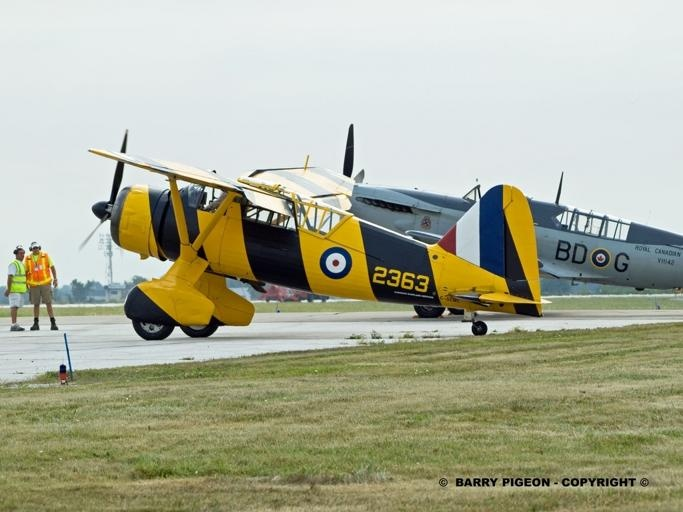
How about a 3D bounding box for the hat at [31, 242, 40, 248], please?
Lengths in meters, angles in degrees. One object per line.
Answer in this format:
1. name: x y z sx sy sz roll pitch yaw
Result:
1. hat: -5.247 -0.180 17.117 0.182 0.090 0.240 -5 8 -14
